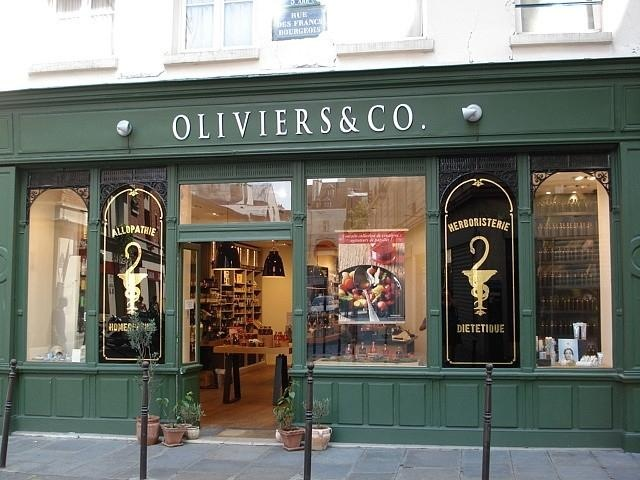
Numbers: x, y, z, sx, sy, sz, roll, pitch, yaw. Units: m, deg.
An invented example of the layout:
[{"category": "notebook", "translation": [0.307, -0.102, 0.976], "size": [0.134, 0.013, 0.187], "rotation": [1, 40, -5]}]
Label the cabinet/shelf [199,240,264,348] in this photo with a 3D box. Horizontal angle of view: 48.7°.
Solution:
[{"category": "cabinet/shelf", "translation": [-2.280, 1.399, 18.004], "size": [0.905, 2.853, 1.102], "rotation": [1, -3, 11]}]

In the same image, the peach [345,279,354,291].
[{"category": "peach", "translation": [0.453, 0.713, 11.319], "size": [0.133, 0.187, 0.104], "rotation": [3, -5, 28]}]

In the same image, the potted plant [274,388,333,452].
[{"category": "potted plant", "translation": [-0.279, 2.761, 10.835], "size": [0.882, 0.916, 0.639], "rotation": [-3, -9, 2]}]

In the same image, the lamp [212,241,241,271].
[{"category": "lamp", "translation": [-2.003, 0.348, 15.245], "size": [0.558, 0.637, 0.553], "rotation": [-1, 0, -41]}]
